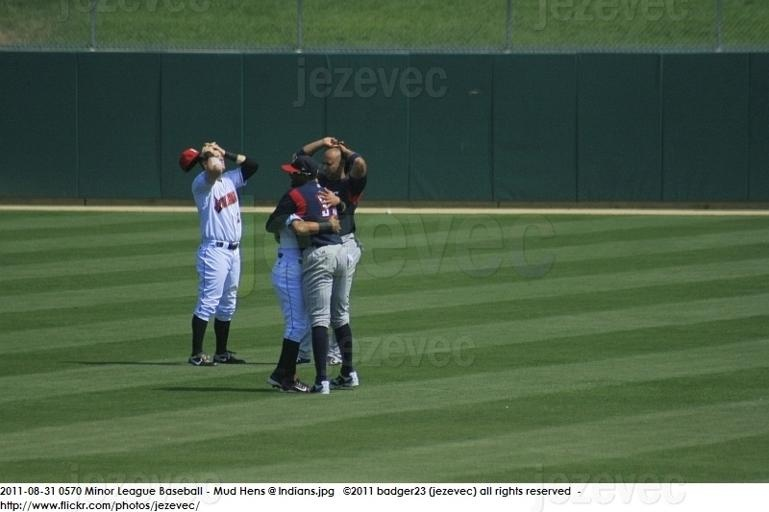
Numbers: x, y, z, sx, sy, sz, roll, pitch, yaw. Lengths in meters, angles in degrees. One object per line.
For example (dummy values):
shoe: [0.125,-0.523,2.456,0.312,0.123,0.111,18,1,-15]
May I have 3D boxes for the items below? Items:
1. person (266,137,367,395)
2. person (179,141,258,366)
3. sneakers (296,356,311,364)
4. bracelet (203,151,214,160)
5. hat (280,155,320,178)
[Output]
person: [-0.817,0.133,19.989,1.084,3.033,1.377,1,11,4]
person: [-2.221,-0.031,20.443,0.946,2.881,0.740,-7,13,-32]
sneakers: [-1.085,1.396,20.590,0.188,0.073,0.064,4,-4,-1]
bracelet: [-2.309,-1.313,20.147,0.115,0.080,0.102,5,-10,-43]
hat: [-1.083,-1.146,19.789,0.403,0.214,0.261,4,13,3]
